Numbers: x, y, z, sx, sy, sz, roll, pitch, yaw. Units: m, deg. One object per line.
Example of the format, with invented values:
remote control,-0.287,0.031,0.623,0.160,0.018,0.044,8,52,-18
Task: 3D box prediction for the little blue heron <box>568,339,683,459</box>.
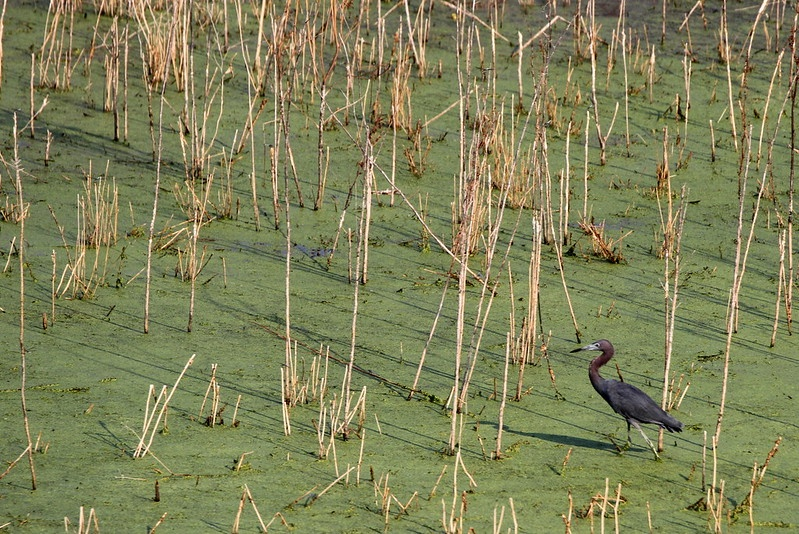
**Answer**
little blue heron,2.475,1.440,16.583,0.526,0.957,1.382,-1,17,-39
